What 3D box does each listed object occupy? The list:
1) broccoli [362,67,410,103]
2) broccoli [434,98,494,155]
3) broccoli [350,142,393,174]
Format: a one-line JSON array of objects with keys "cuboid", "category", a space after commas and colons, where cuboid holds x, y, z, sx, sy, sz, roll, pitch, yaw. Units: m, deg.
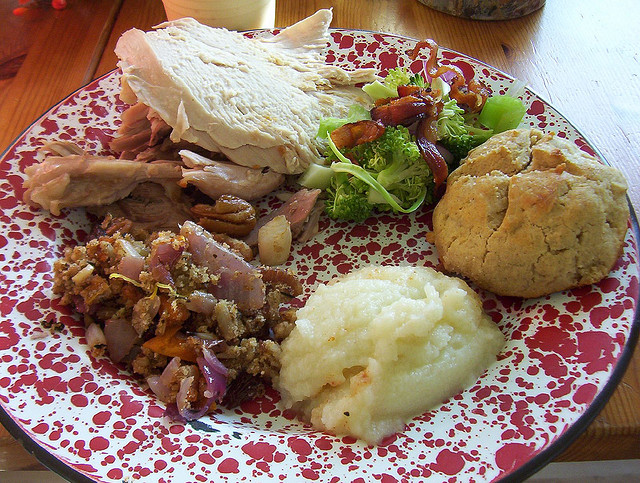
[{"cuboid": [0.438, -1.016, 3.803, 0.262, 0.238, 0.168, -15, 91, -28], "category": "broccoli"}, {"cuboid": [0.843, -0.650, 3.615, 0.414, 0.425, 0.162, 42, 100, 9], "category": "broccoli"}, {"cuboid": [0.334, -0.528, 3.660, 0.105, 0.220, 0.196, -35, 96, -43], "category": "broccoli"}]
